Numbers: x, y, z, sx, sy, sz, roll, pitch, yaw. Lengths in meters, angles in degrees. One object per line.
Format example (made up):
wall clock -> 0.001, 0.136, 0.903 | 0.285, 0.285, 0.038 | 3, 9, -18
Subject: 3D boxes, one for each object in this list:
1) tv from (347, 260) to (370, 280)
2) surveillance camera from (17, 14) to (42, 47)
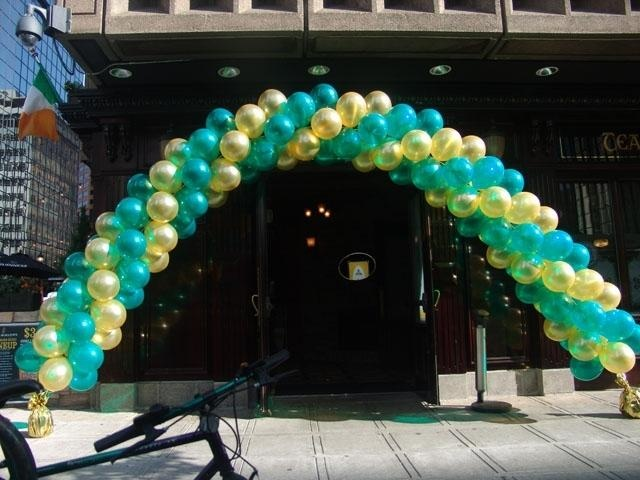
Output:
tv -> 1.016, 0.759, 15.347 | 0.514, 0.560, 0.075 | 0, 0, 3
surveillance camera -> -4.388, -3.143, 8.798 | 0.361, 0.529, 0.290 | -2, 1, -27
